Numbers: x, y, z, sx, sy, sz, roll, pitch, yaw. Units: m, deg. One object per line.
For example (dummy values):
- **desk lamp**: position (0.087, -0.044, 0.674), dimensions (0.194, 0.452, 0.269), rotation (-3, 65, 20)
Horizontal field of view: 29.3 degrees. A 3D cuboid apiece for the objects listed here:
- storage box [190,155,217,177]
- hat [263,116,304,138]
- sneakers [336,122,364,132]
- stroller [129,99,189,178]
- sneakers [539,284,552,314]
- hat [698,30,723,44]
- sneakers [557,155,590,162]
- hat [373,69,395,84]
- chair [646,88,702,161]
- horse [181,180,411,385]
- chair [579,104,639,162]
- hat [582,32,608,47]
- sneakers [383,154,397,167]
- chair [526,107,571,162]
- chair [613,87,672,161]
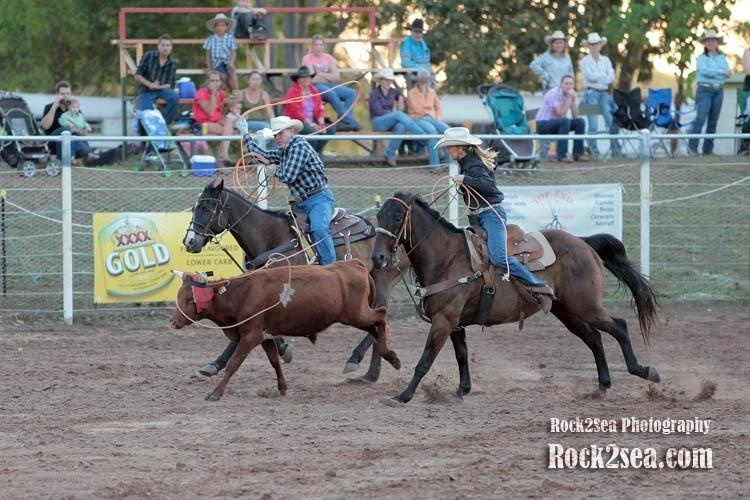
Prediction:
- **storage box**: position (-3.489, -1.756, 29.621), dimensions (0.549, 0.423, 0.519), rotation (0, 0, -7)
- **hat**: position (-1.596, -2.055, 24.822), dimensions (0.484, 0.173, 0.457), rotation (-19, -3, 35)
- **sneakers**: position (-0.535, -2.682, 31.543), dimensions (0.622, 0.235, 0.197), rotation (-4, 2, 3)
- **stroller**: position (-4.435, -2.304, 30.220), dimensions (1.033, 1.276, 0.782), rotation (13, 19, 32)
- **sneakers**: position (2.920, 0.825, 24.201), dimensions (0.231, 0.496, 0.166), rotation (-2, -1, -21)
- **hat**: position (7.546, -4.748, 32.035), dimensions (0.333, 0.296, 0.742), rotation (1, 8, 18)
- **sneakers**: position (4.374, -2.005, 31.649), dimensions (0.438, 0.169, 0.134), rotation (-8, -7, 28)
- **hat**: position (0.215, -3.746, 31.153), dimensions (0.342, 0.126, 0.310), rotation (2, -8, 7)
- **chair**: position (6.693, -3.012, 33.175), dimensions (1.134, 1.241, 1.214), rotation (16, 22, 33)
- **horse**: position (-1.139, 0.698, 25.423), dimensions (5.051, 3.078, 1.192), rotation (6, -15, -39)
- **chair**: position (5.545, -2.689, 32.289), dimensions (0.926, 1.093, 0.967), rotation (10, -3, 27)
- **hat**: position (5.031, -4.735, 32.445), dimensions (0.385, 0.253, 0.659), rotation (-1, 8, 5)
- **sneakers**: position (0.381, -1.942, 31.354), dimensions (0.272, 0.243, 0.423), rotation (-2, 8, 1)
- **chair**: position (3.848, -2.488, 31.383), dimensions (0.845, 1.403, 0.384), rotation (-5, -2, -16)
- **chair**: position (5.863, -2.952, 32.226), dimensions (0.962, 1.284, 0.951), rotation (-12, 20, -16)
